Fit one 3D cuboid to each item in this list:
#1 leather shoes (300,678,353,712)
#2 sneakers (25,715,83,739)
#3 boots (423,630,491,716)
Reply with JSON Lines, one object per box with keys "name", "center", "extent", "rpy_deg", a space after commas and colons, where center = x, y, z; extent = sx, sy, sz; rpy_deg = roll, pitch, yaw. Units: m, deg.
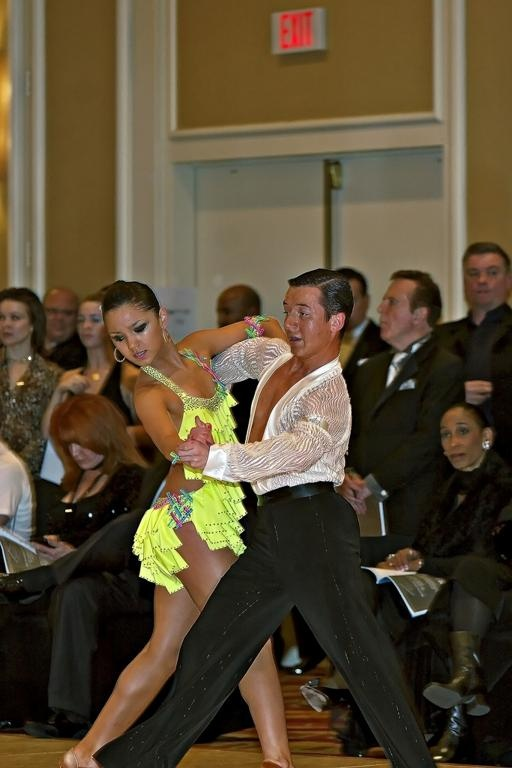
{"name": "leather shoes", "center": [0.236, 0.979, 2.390], "extent": [0.155, 0.092, 0.085], "rpy_deg": [-11, -17, -44]}
{"name": "sneakers", "center": [-0.647, 1.100, 2.443], "extent": [0.204, 0.066, 0.082], "rpy_deg": [-2, -7, 6]}
{"name": "boots", "center": [0.552, 0.778, 2.033], "extent": [0.201, 0.083, 0.224], "rpy_deg": [19, 41, -4]}
